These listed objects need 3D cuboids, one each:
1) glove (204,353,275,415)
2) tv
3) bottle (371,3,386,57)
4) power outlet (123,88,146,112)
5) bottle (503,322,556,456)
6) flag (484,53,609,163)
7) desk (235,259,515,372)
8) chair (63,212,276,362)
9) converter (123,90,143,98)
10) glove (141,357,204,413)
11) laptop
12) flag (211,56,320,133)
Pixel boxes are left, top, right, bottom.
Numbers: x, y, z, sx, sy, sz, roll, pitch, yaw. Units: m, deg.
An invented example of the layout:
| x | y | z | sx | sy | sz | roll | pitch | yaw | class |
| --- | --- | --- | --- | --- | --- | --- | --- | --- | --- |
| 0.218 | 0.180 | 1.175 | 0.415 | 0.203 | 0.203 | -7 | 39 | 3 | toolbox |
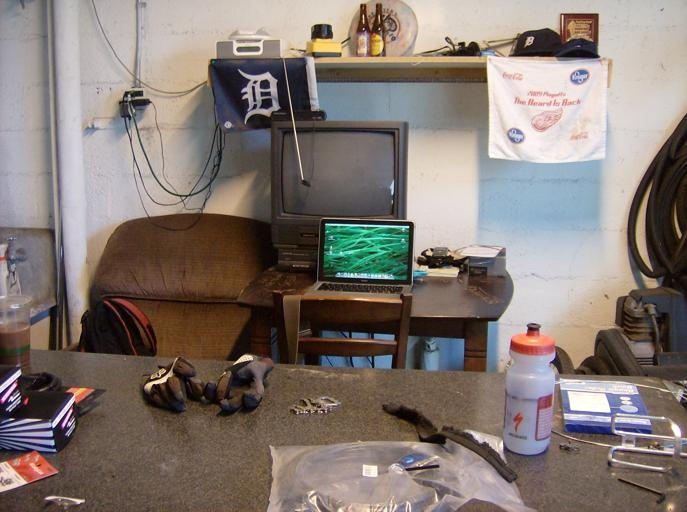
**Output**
| x | y | z | sx | sy | sz | roll | pitch | yaw | class |
| --- | --- | --- | --- | --- | --- | --- | --- | --- | --- |
| -0.295 | 0.360 | 1.808 | 0.112 | 0.058 | 0.173 | 6 | 23 | 2 | glove |
| -0.046 | -0.406 | 3.392 | 0.796 | 0.775 | 0.587 | 1 | 1 | 4 | tv |
| 0.164 | -1.138 | 3.154 | 0.062 | 0.262 | 0.092 | 3 | 13 | 15 | bottle |
| -1.179 | -0.882 | 3.530 | 0.130 | 0.084 | 0.121 | 2 | 21 | 0 | power outlet |
| 0.475 | 0.337 | 1.601 | 0.123 | 0.337 | 0.106 | 3 | 13 | 17 | bottle |
| 1.013 | -0.747 | 3.109 | 0.583 | 0.487 | 0.041 | -1 | 20 | 4 | flag |
| 0.403 | 0.219 | 2.794 | 0.746 | 0.361 | 0.613 | 2 | 10 | 9 | desk |
| -0.942 | 0.371 | 3.508 | 0.911 | 0.638 | 0.525 | 3 | -26 | -23 | chair |
| -1.190 | -0.900 | 3.523 | 0.098 | 0.049 | 0.063 | -1 | 2 | -4 | converter |
| -0.504 | 0.362 | 1.816 | 0.129 | 0.074 | 0.161 | -19 | 16 | -28 | glove |
| 0.092 | -0.015 | 2.948 | 0.503 | 0.337 | 0.331 | 2 | 8 | 7 | laptop |
| -0.386 | -0.821 | 3.136 | 0.466 | 0.314 | 0.049 | -1 | 33 | 5 | flag |
